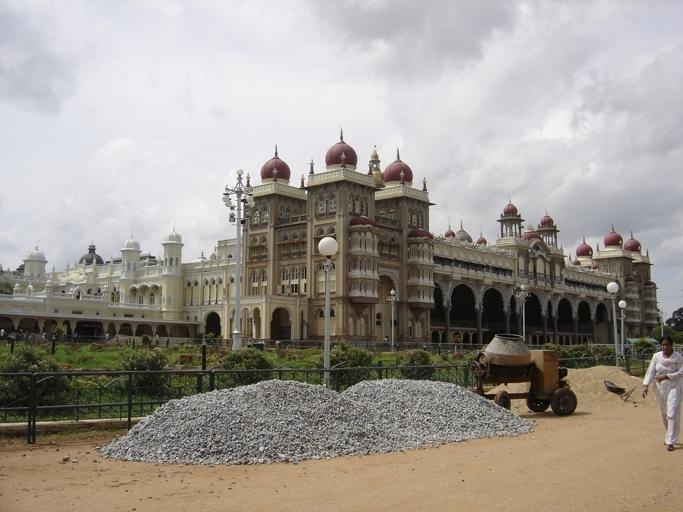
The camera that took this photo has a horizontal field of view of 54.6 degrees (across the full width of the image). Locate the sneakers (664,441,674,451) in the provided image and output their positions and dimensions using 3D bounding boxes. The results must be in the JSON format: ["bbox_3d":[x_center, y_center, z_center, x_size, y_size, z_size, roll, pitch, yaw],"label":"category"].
[{"bbox_3d":[6.901,3.944,13.854,0.122,0.154,0.365,-1,-17,-1],"label":"sneakers"}]
